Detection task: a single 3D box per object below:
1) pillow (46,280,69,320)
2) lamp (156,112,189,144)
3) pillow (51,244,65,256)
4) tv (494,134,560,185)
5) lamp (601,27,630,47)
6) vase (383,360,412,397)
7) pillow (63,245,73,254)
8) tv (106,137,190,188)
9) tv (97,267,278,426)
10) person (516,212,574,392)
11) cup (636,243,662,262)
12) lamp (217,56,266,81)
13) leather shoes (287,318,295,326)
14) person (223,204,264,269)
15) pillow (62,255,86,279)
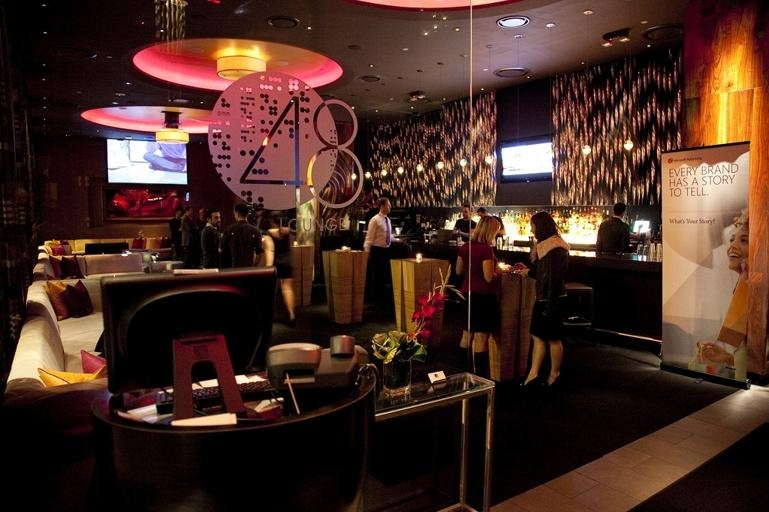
[{"bbox_3d":[-3.685,0.498,6.180,0.116,0.269,0.312,-15,52,-19],"label":"pillow"},{"bbox_3d":[-1.914,-1.145,4.906,0.293,0.273,0.295,-3,5,-16],"label":"lamp"},{"bbox_3d":[-5.166,-0.117,8.663,0.239,0.138,0.211,3,8,-8],"label":"pillow"},{"bbox_3d":[2.656,-1.783,10.085,0.104,0.728,0.992,-2,4,-42],"label":"tv"},{"bbox_3d":[3.261,-3.084,7.749,0.363,0.167,0.595,7,16,21],"label":"lamp"},{"bbox_3d":[0.085,0.864,3.945,0.155,0.265,0.146,0,0,-29],"label":"vase"},{"bbox_3d":[-5.024,-0.120,8.694,0.116,0.144,0.137,-1,9,-24],"label":"pillow"},{"bbox_3d":[-2.054,-0.813,4.776,0.520,0.316,0.019,-1,-2,-20],"label":"tv"},{"bbox_3d":[-1.034,0.455,3.051,0.903,0.800,0.314,-6,24,-20],"label":"tv"},{"bbox_3d":[1.698,0.464,5.879,0.498,1.861,0.450,5,14,16],"label":"person"},{"bbox_3d":[3.475,-0.055,7.212,0.187,0.194,0.352,7,3,9],"label":"cup"},{"bbox_3d":[-1.234,-1.626,4.757,0.412,0.211,0.245,-2,14,-13],"label":"lamp"},{"bbox_3d":[-1.077,0.752,6.344,0.094,0.108,0.111,0,-5,4],"label":"leather shoes"},{"bbox_3d":[-1.267,-0.182,4.923,0.367,0.729,0.860,-3,15,-17],"label":"person"},{"bbox_3d":[-4.443,0.153,7.846,0.136,0.372,0.309,-8,-2,32],"label":"pillow"}]
